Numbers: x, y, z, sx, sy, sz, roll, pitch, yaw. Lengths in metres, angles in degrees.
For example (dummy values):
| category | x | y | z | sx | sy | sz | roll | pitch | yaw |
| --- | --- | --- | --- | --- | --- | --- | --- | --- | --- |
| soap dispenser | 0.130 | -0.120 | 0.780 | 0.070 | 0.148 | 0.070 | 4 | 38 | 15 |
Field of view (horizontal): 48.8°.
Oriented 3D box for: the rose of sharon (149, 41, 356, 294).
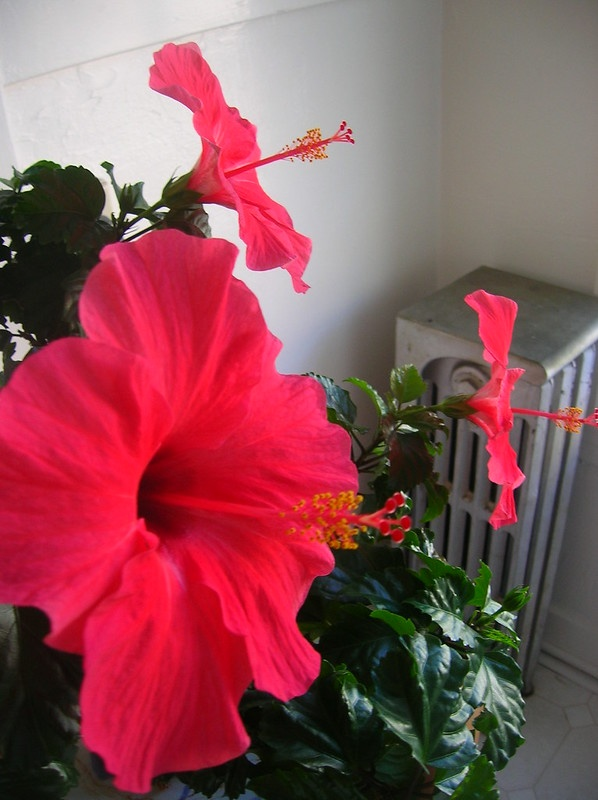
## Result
| category | x | y | z | sx | sy | sz | roll | pitch | yaw |
| --- | --- | --- | --- | --- | --- | --- | --- | --- | --- |
| rose of sharon | -0.041 | -0.198 | 0.562 | 0.167 | 0.151 | 0.223 | 13 | 9 | -9 |
